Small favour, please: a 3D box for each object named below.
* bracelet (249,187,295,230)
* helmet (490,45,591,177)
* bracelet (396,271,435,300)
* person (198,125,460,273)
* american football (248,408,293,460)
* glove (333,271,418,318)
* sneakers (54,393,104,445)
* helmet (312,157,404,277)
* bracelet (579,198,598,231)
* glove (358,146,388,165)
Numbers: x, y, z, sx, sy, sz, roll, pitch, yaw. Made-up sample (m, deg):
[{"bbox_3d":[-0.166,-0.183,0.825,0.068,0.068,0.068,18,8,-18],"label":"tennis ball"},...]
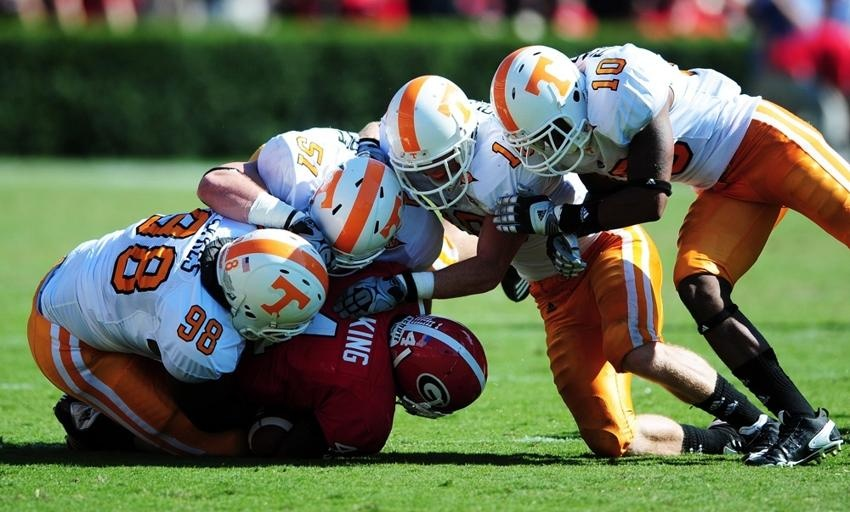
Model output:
[{"bbox_3d":[-0.933,-0.264,5.905,0.238,0.153,0.183,24,30,-38],"label":"bracelet"},{"bbox_3d":[0.692,-0.870,5.943,0.594,0.692,0.430,1,27,1],"label":"helmet"},{"bbox_3d":[-0.065,0.198,5.960,0.203,0.183,0.151,-2,70,4],"label":"bracelet"},{"bbox_3d":[-0.819,-0.440,6.255,1.098,0.360,1.086,-39,73,-24],"label":"person"},{"bbox_3d":[-0.913,1.057,5.873,0.272,0.238,0.223,-12,2,5],"label":"american football"},{"bbox_3d":[-0.302,0.238,5.897,0.409,0.164,0.219,-10,56,-15],"label":"glove"},{"bbox_3d":[-2.109,1.004,6.027,0.208,0.319,0.135,6,23,23],"label":"sneakers"},{"bbox_3d":[-0.409,-0.221,6.054,0.663,0.500,0.539,-57,17,-17],"label":"helmet"},{"bbox_3d":[0.989,-0.252,5.850,0.119,0.156,0.122,-7,-1,29],"label":"bracelet"},{"bbox_3d":[-0.318,-0.633,6.153,0.153,0.056,0.114,8,3,23],"label":"glove"}]
